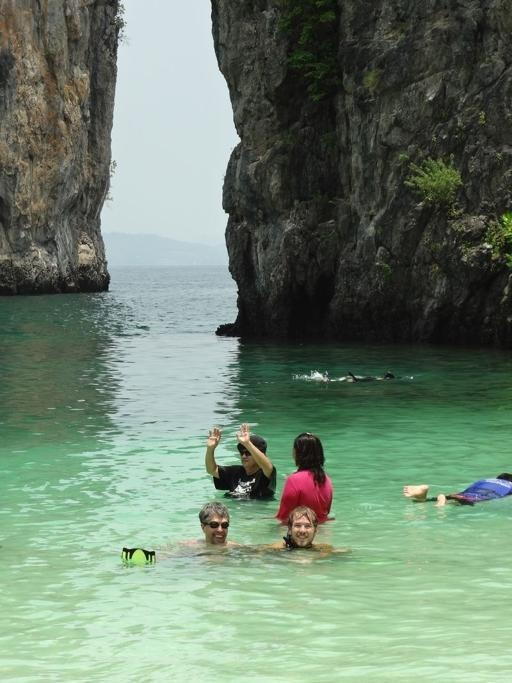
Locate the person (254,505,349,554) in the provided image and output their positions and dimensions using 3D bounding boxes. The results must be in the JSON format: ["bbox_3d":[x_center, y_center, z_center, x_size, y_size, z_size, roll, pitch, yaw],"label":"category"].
[{"bbox_3d":[0.443,1.751,7.501,0.825,0.482,0.404,2,7,5],"label":"person"}]

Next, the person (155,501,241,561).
[{"bbox_3d":[-0.429,1.813,7.595,1.274,0.482,0.341,6,-10,-28],"label":"person"}]

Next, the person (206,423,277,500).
[{"bbox_3d":[-0.199,1.657,9.665,0.877,1.145,0.768,-1,-14,13],"label":"person"}]
